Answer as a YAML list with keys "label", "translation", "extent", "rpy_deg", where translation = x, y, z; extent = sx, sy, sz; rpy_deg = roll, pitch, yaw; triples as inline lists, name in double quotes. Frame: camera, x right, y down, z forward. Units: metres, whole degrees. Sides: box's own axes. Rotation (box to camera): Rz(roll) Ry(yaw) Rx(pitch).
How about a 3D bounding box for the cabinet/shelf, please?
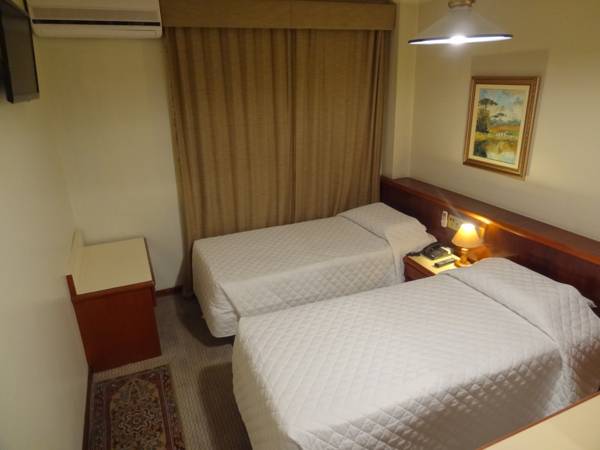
- label: "cabinet/shelf"
  translation: [-1.712, 0.652, 4.133]
  extent: [0.660, 0.980, 0.900]
  rpy_deg: [-8, 26, -20]
